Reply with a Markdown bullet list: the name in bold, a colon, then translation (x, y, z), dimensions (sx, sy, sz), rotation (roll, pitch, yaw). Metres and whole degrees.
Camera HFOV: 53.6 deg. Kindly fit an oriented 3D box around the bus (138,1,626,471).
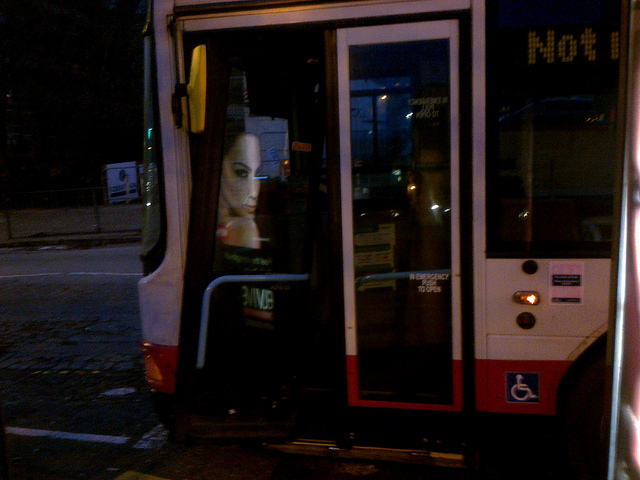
- **bus**: translation (0.496, 0.001, 4.773), dimensions (3.258, 2.457, 1.470), rotation (0, 4, 11)
